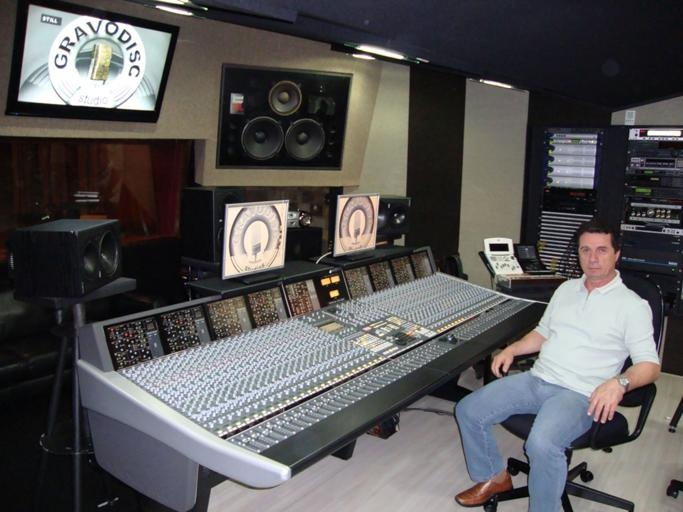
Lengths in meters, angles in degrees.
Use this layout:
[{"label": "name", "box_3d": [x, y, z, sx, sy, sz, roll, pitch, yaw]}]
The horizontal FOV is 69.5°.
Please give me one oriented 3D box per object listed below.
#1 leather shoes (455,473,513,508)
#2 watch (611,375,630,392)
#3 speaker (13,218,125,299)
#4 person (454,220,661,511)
[{"label": "leather shoes", "box_3d": [0.814, 1.337, 2.789, 0.327, 0.131, 0.120, -22, 4, -5]}, {"label": "watch", "box_3d": [1.347, 0.616, 2.373, 0.066, 0.058, 0.065, -9, 18, -34]}, {"label": "speaker", "box_3d": [-1.213, -0.005, 2.232, 0.373, 0.287, 0.386, 2, 9, 3]}, {"label": "person", "box_3d": [1.139, 0.578, 2.549, 0.869, 1.427, 0.634, -7, 16, -28]}]
